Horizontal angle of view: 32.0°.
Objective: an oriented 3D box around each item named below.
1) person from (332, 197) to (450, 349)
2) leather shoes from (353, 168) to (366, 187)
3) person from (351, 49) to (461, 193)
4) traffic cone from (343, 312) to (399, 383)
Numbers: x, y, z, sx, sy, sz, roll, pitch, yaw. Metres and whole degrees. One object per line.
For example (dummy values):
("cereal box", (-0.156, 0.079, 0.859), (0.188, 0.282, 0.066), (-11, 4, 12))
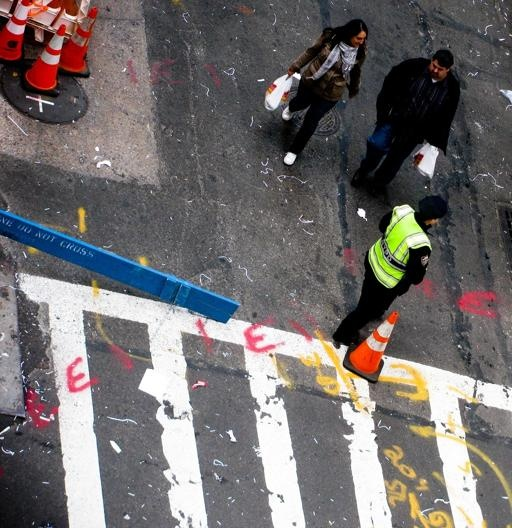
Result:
("person", (1.360, 0.124, 9.495), (0.465, 1.933, 0.757), (20, 46, -7))
("leather shoes", (1.292, -1.084, 11.186), (0.071, 0.244, 0.137), (-16, 54, -38))
("person", (1.822, -1.670, 10.568), (0.973, 2.032, 0.553), (31, 42, 2))
("traffic cone", (1.253, 0.951, 9.843), (0.346, 0.567, 0.384), (32, 47, 3))
